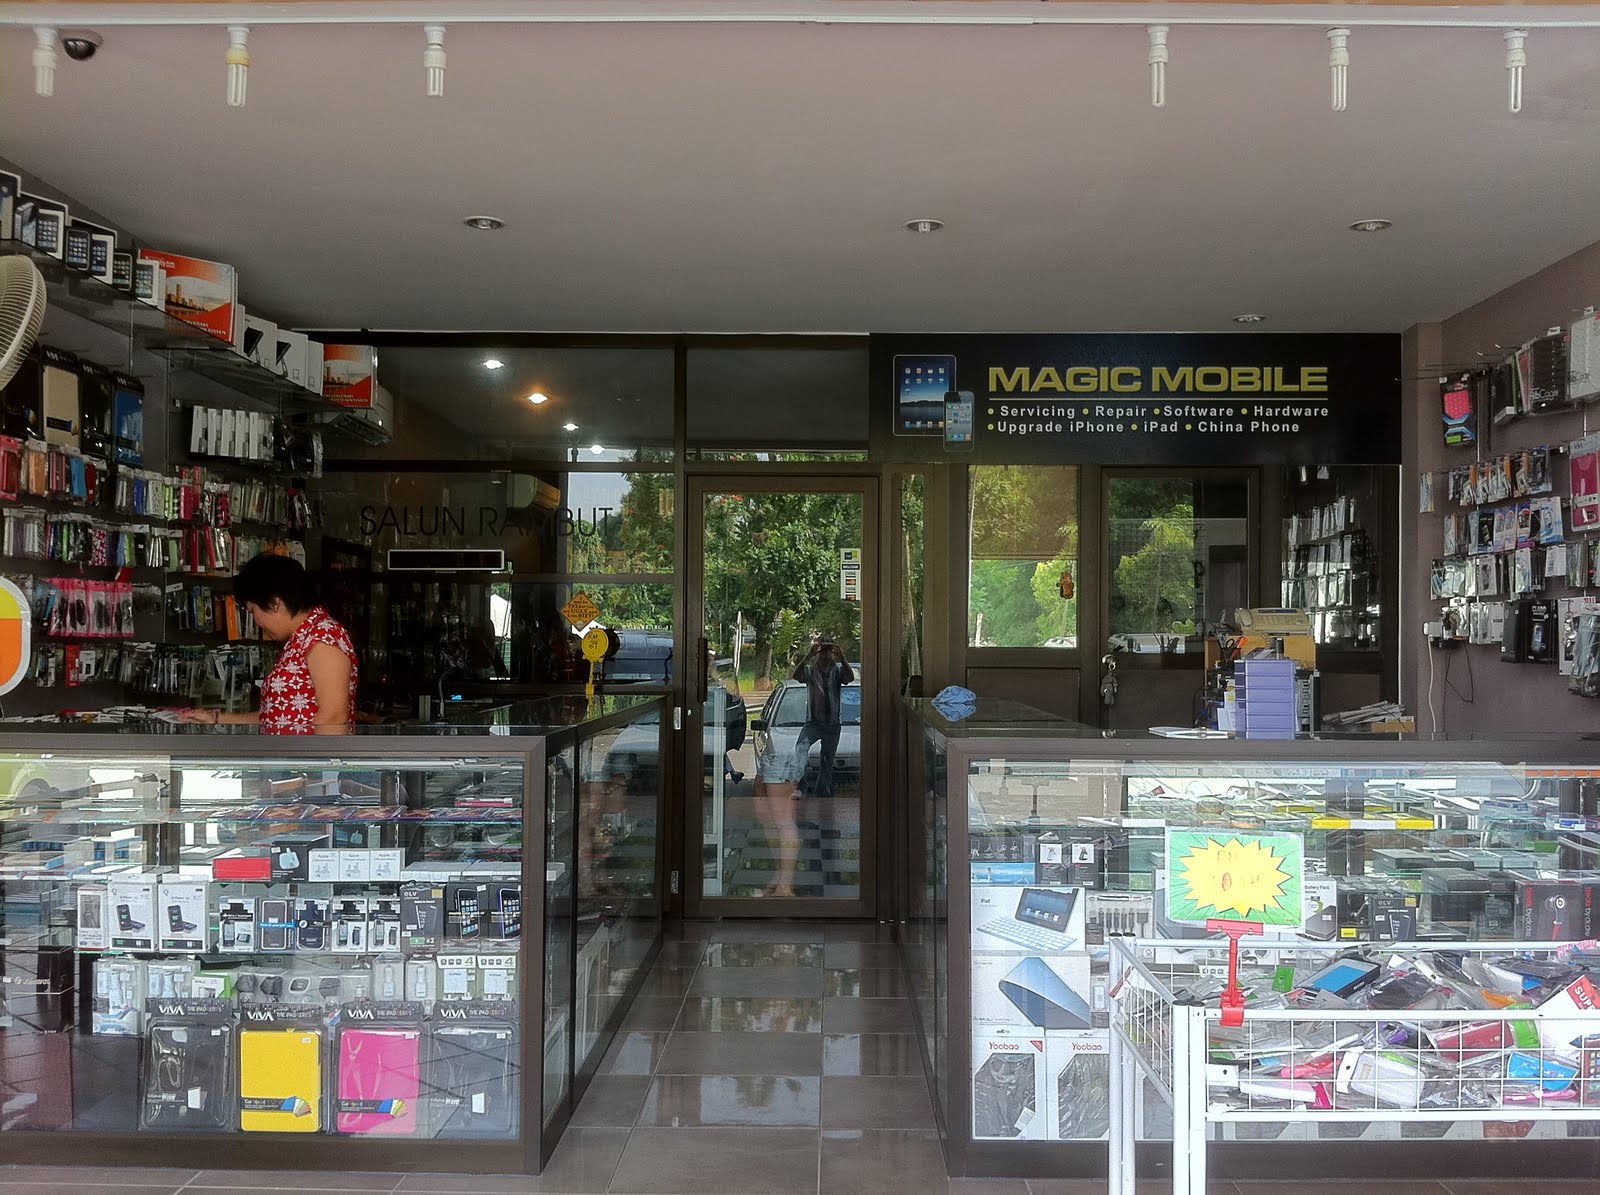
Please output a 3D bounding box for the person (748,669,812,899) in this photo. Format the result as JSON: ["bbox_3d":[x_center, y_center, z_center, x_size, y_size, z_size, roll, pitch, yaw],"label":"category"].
[{"bbox_3d":[-0.112,1.006,7.470,0.283,1.153,0.089,2,3,0],"label":"person"}]

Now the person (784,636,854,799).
[{"bbox_3d":[0.121,0.616,7.495,0.291,0.796,0.121,4,-5,-7],"label":"person"}]
